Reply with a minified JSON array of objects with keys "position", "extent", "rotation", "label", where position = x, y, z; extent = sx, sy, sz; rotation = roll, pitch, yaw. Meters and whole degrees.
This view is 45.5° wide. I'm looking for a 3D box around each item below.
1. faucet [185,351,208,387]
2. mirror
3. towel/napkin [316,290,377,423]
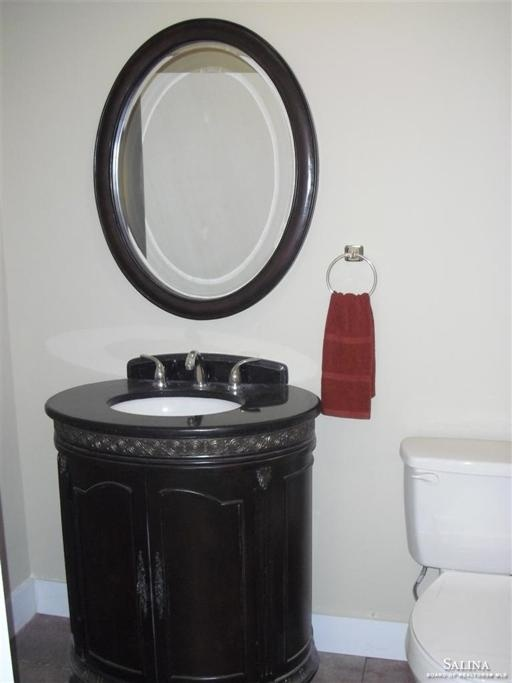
[{"position":[-0.171,0.076,1.724],"extent":[0.059,0.106,0.142],"rotation":[0,6,-6],"label":"faucet"},{"position":[-0.125,-0.518,1.756],"extent":[0.695,1.038,0.053],"rotation":[2,5,17],"label":"mirror"},{"position":[0.242,0.038,1.657],"extent":[0.136,0.330,0.064],"rotation":[3,7,24],"label":"towel/napkin"}]
